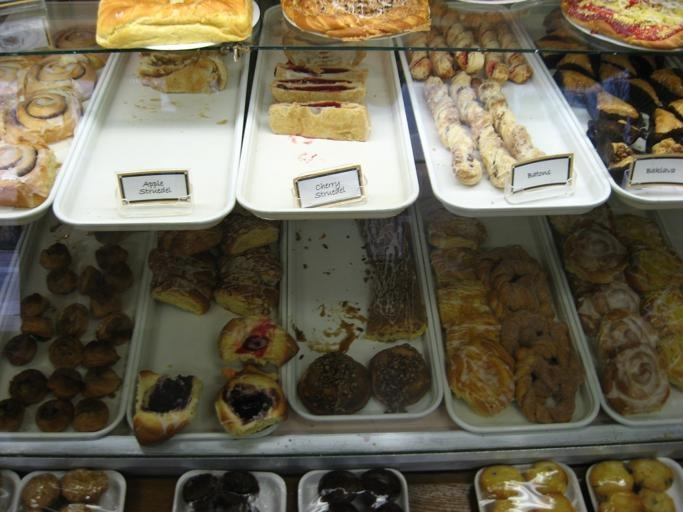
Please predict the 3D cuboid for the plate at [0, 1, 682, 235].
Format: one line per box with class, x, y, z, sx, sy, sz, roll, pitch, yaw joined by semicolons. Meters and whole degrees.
plate;0.077;-0.358;1.741;1.444;0.176;0.847;-3;66;1
